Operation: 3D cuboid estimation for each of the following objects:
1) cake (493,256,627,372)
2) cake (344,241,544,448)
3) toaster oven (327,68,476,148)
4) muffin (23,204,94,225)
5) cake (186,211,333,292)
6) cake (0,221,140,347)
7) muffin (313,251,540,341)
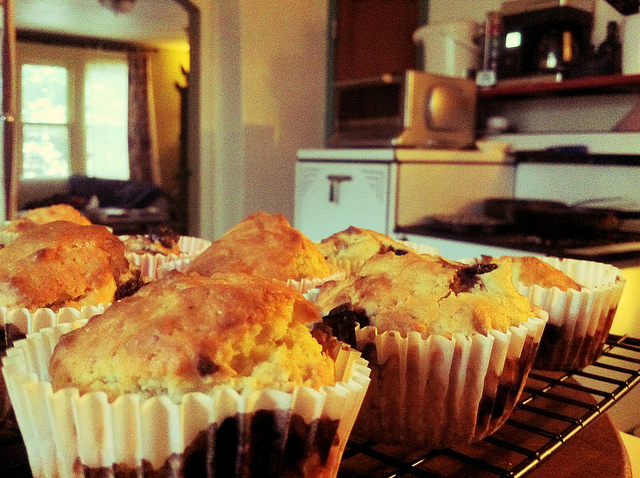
[{"bbox_3d":[0.457,0.146,1.224,0.293,0.170,0.282,2,-2,-29],"label":"cake"},{"bbox_3d":[0.174,0.146,0.928,0.289,0.197,0.280,2,-1,-3],"label":"cake"},{"bbox_3d":[0.445,-0.657,3.029,0.584,0.386,0.607,-5,14,-30],"label":"toaster oven"},{"bbox_3d":[-0.510,-0.043,1.121,0.089,0.028,0.097,4,-3,17],"label":"muffin"},{"bbox_3d":[-0.104,0.019,1.141,0.264,0.119,0.250,5,0,-15],"label":"cake"},{"bbox_3d":[-0.383,0.058,0.911,0.160,0.100,0.193,-11,6,7],"label":"cake"},{"bbox_3d":[0.162,0.057,0.934,0.264,0.128,0.295,-2,7,7],"label":"muffin"}]
